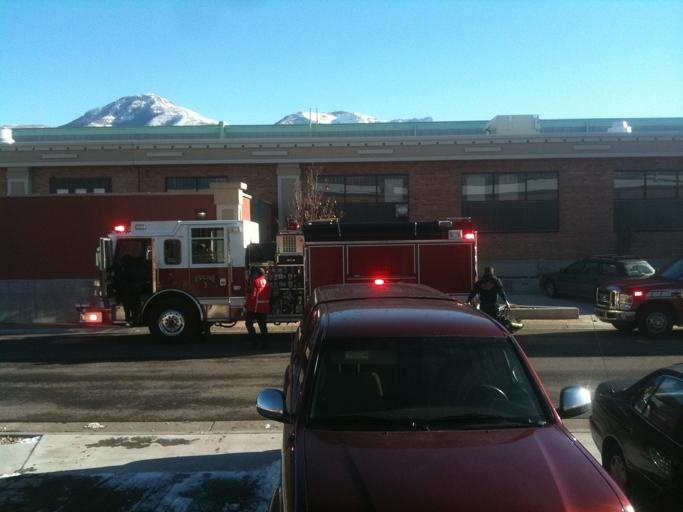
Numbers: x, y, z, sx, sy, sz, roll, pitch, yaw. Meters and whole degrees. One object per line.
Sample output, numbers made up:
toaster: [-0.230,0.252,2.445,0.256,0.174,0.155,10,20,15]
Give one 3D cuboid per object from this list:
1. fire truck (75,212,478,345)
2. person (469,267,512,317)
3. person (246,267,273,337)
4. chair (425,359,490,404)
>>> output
fire truck: [-1.614,0.573,18.748,9.000,3.160,2.799,0,1,-2]
person: [3.524,1.111,19.917,0.955,1.713,0.408,-1,16,8]
person: [-1.983,1.065,19.613,0.637,1.520,0.576,0,0,-31]
chair: [1.519,1.627,10.866,0.654,0.504,0.671,0,4,-16]
